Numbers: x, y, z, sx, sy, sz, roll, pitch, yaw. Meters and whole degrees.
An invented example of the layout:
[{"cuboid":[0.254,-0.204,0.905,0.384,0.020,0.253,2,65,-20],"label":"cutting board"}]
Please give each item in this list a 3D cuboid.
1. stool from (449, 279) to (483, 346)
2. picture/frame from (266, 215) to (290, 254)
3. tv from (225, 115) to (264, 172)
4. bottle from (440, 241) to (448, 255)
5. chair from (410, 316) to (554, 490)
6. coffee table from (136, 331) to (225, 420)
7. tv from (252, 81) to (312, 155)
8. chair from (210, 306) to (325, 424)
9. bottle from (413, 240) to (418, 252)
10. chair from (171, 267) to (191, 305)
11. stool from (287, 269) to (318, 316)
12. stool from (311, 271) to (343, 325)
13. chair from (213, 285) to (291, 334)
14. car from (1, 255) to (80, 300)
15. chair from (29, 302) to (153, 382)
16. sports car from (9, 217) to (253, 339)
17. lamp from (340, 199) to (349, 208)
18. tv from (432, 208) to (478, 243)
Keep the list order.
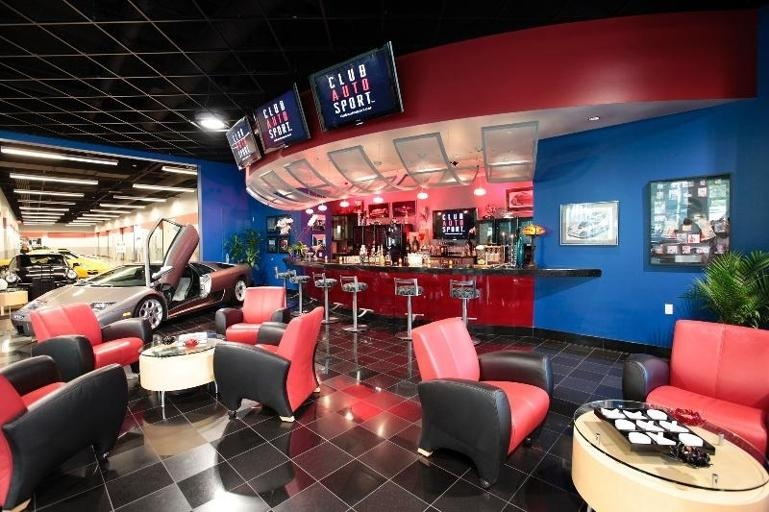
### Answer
[{"cuboid":[1.478,0.992,8.306,0.544,1.071,0.511,-1,-3,29],"label":"stool"},{"cuboid":[-3.118,-0.694,13.355,1.305,1.298,0.139,2,1,32],"label":"picture/frame"},{"cuboid":[-2.983,-2.487,9.718,0.132,1.223,1.272,-22,12,-40],"label":"tv"},{"cuboid":[1.551,-0.209,11.682,0.257,0.351,0.108,1,5,44],"label":"bottle"},{"cuboid":[1.204,1.721,5.793,1.624,1.474,1.607,5,8,35],"label":"chair"},{"cuboid":[-3.020,1.729,6.825,1.201,0.680,1.145,-4,4,-14],"label":"coffee table"},{"cuboid":[-1.901,-2.682,8.595,1.388,0.942,0.148,-8,13,43],"label":"tv"},{"cuboid":[-1.586,1.440,6.505,1.378,1.288,1.112,2,7,11],"label":"chair"},{"cuboid":[0.865,-0.327,12.043,0.188,0.302,0.258,-2,3,3],"label":"bottle"},{"cuboid":[-4.367,0.673,9.831,0.255,0.679,0.282,11,-17,-2],"label":"chair"},{"cuboid":[-1.922,0.825,10.306,0.748,0.976,0.761,-5,-6,44],"label":"stool"},{"cuboid":[-1.278,0.825,9.751,0.453,0.917,0.545,-18,18,-23],"label":"stool"},{"cuboid":[-2.175,1.098,7.709,1.255,1.084,1.150,1,1,-15],"label":"chair"},{"cuboid":[-8.677,0.475,11.577,1.922,0.755,1.128,2,2,35],"label":"car"},{"cuboid":[-4.419,1.300,6.834,1.520,1.117,1.391,-5,4,0],"label":"chair"},{"cuboid":[-4.603,0.609,9.604,2.975,1.937,4.325,-1,0,26],"label":"sports car"},{"cuboid":[-1.169,-1.587,13.385,0.221,0.281,0.210,2,-5,-16],"label":"lamp"},{"cuboid":[1.831,-0.796,11.397,1.001,0.631,0.103,1,0,36],"label":"tv"}]
